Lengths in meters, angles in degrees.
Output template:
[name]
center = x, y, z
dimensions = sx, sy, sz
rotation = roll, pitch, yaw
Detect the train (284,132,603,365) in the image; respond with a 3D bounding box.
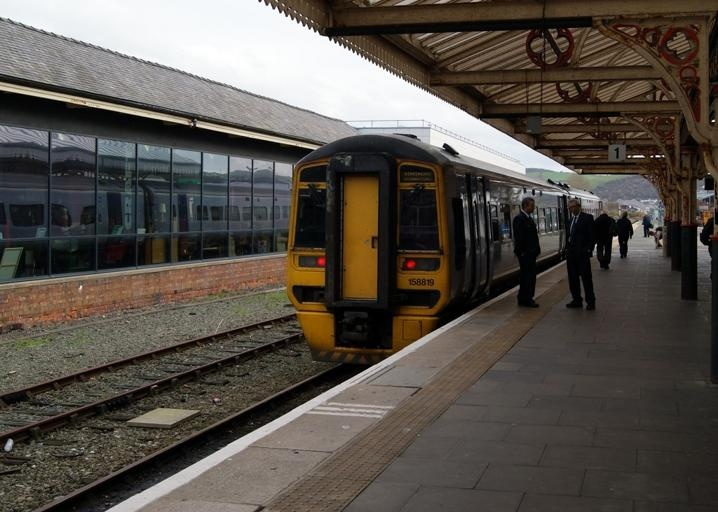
[train]
center = 1.778, -0.331, 12.066
dimensions = 2.374, 4.174, 6.767
rotation = 2, 5, 33

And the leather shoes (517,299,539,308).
[leather shoes]
center = 3.638, 1.045, 12.233
dimensions = 0.517, 0.164, 0.159
rotation = -2, 2, 21

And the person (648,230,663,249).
[person]
center = 20.048, -1.095, 38.113
dimensions = 0.692, 1.338, 1.392
rotation = -5, -21, 17
